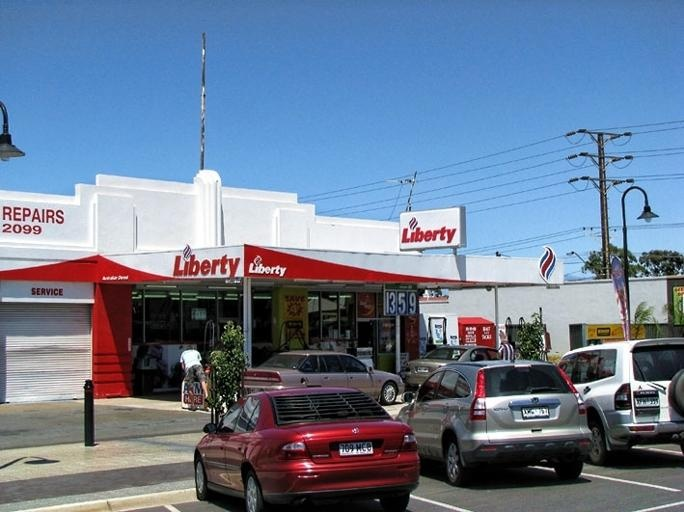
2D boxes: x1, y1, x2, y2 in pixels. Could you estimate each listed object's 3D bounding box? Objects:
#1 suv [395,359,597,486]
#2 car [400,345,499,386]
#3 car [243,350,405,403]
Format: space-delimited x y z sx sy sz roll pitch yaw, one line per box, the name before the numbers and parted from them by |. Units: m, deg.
suv | 2.573 2.773 12.093 2.914 2.053 1.532 1 -1 20
car | 4.526 4.265 26.804 4.688 1.629 2.099 7 -10 -40
car | -0.524 3.593 22.587 4.452 1.493 1.962 0 -2 -35
